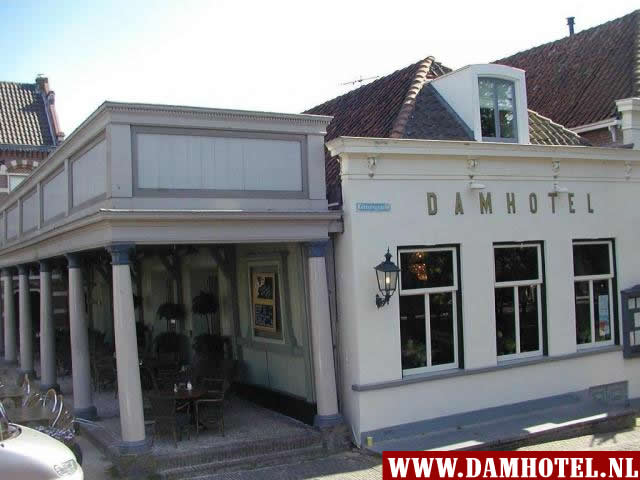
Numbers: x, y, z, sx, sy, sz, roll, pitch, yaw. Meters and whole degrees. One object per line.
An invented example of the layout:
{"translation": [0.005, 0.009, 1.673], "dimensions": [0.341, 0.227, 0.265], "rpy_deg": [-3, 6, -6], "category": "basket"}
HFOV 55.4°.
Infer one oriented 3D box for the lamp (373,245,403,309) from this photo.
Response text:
{"translation": [1.353, 0.836, 12.438], "dimensions": [0.420, 1.097, 0.538], "rpy_deg": [-1, -7, -14], "category": "lamp"}
